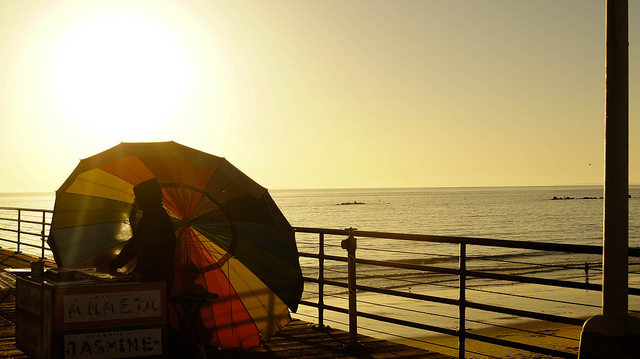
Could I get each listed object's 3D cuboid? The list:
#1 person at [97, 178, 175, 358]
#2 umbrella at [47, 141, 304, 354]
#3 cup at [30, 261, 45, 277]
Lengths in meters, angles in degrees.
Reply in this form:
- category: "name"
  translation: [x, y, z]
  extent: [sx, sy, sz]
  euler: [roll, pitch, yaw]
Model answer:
- category: "person"
  translation: [-2.647, 1.261, 7.365]
  extent: [0.999, 2.512, 0.838]
  euler: [1, -13, -7]
- category: "umbrella"
  translation: [-2.001, 1.032, 8.588]
  extent: [3.963, 3.563, 1.610]
  euler: [5, 13, 9]
- category: "cup"
  translation: [-4.111, 1.272, 7.277]
  extent: [0.220, 0.221, 0.215]
  euler: [1, -12, 0]
